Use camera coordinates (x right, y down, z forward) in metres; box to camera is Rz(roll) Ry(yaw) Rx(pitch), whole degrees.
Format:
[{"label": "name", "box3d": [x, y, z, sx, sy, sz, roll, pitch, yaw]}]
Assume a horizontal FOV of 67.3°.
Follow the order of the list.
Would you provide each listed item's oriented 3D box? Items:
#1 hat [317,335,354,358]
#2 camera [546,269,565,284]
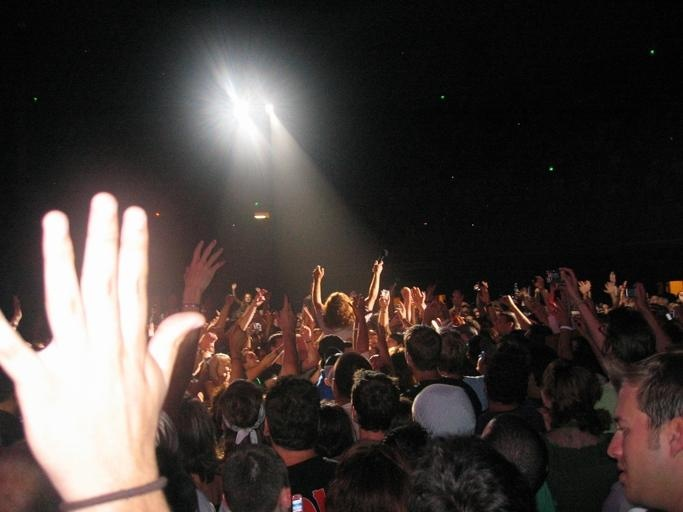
[{"label": "hat", "box3d": [-0.053, 1.007, 5.898, 0.342, 0.191, 0.223, -5, 12, -31]}, {"label": "camera", "box3d": [3.458, 0.326, 8.306, 0.207, 0.240, 0.398, -3, -12, 34]}]
